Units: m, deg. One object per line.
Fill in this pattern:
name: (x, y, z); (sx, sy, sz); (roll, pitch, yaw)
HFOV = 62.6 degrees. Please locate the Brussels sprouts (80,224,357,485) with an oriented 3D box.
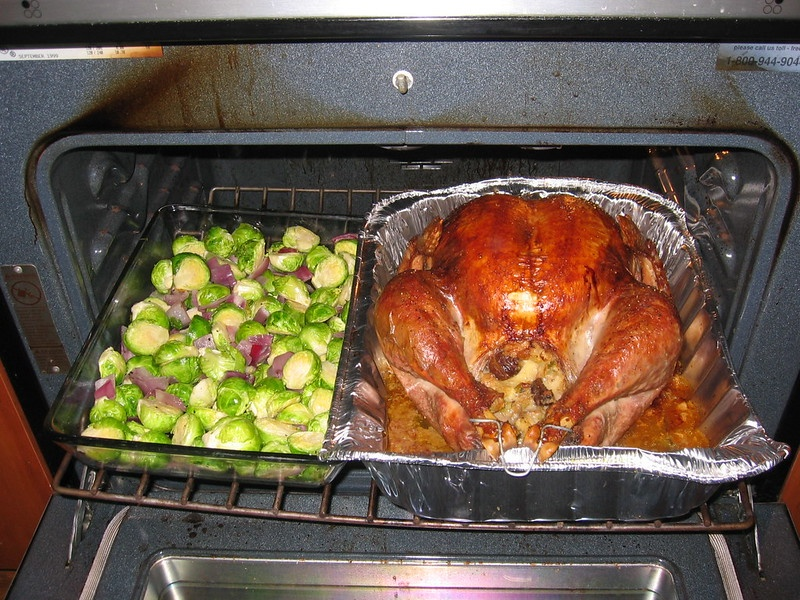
Brussels sprouts: (-0.635, 0.120, 2.546); (0.697, 0.938, 0.223); (8, -33, -5)

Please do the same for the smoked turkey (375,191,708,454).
smoked turkey: (0.430, 0.073, 2.217); (0.821, 1.233, 0.942); (2, -65, 2)
